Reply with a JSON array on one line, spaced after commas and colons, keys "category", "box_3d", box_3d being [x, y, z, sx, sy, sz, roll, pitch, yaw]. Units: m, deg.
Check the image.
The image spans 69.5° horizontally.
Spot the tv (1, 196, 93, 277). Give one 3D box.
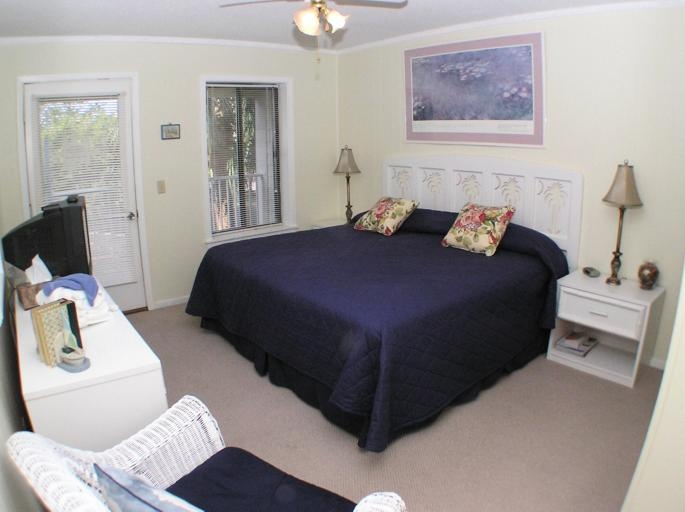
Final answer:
[{"category": "tv", "box_3d": [-1.881, -0.180, 3.222, 0.399, 0.597, 0.577, -3, 11, -24]}]

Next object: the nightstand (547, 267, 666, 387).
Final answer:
[{"category": "nightstand", "box_3d": [2.029, 0.458, 4.113, 0.962, 1.036, 0.723, 13, 18, 43]}]

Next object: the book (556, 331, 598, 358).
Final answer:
[{"category": "book", "box_3d": [1.934, 0.716, 4.102, 0.184, 0.083, 0.258, 8, 15, 38]}]

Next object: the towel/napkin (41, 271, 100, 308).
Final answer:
[{"category": "towel/napkin", "box_3d": [-1.434, 0.150, 2.644, 0.191, 0.076, 0.197, 15, 7, -17]}]

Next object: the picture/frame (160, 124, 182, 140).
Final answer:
[{"category": "picture/frame", "box_3d": [-1.730, -1.255, 4.960, 0.016, 0.149, 0.148, 13, 17, 43]}]

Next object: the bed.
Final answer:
[{"category": "bed", "box_3d": [0.321, 0.063, 4.327, 2.593, 1.601, 2.556, -17, 20, -40]}]

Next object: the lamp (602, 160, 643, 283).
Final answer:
[{"category": "lamp", "box_3d": [2.171, -0.264, 3.895, 0.256, 0.956, 0.375, 8, 19, 37]}]

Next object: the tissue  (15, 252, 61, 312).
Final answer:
[{"category": "tissue ", "box_3d": [-1.711, 0.149, 2.750, 0.246, 0.105, 0.326, -5, 20, -31]}]
